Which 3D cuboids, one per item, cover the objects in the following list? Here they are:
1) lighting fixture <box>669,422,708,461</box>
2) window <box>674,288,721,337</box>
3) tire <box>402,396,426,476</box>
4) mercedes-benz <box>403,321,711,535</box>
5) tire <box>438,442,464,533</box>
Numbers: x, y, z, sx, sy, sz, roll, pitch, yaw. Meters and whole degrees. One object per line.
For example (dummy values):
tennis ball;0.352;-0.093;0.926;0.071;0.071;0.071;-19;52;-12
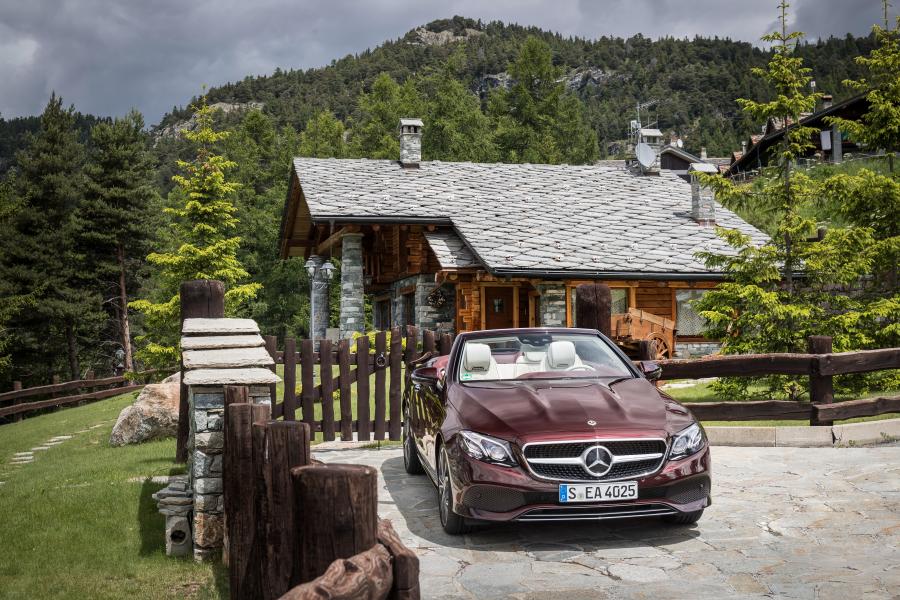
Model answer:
lighting fixture;3.748;2.273;14.644;0.765;0.532;0.221;-5;1;-37
window;7.158;0.369;27.074;1.464;1.818;0.079;-2;5;-7
tire;-0.675;2.519;16.864;0.448;1.480;1.426;-2;-4;-12
mercedes-benz;1.722;2.174;15.448;4.793;3.213;2.427;-4;0;4
tire;0.015;3.031;14.758;0.440;1.408;1.362;-1;-6;-9
